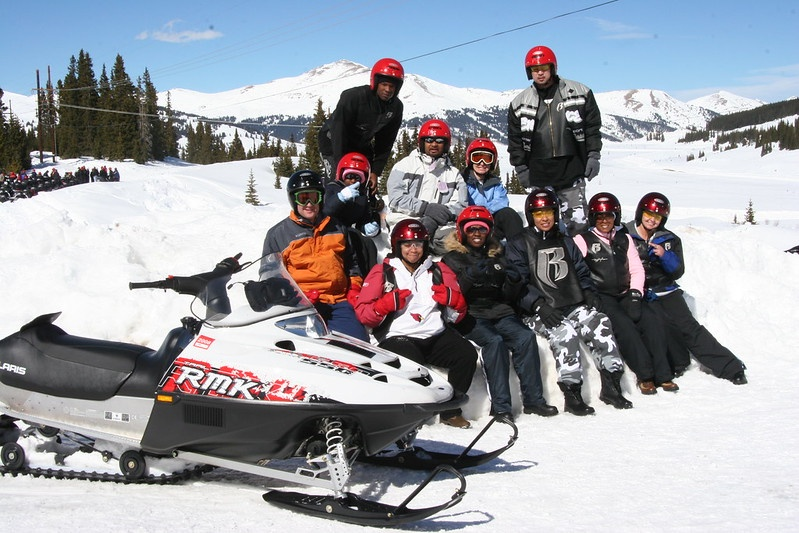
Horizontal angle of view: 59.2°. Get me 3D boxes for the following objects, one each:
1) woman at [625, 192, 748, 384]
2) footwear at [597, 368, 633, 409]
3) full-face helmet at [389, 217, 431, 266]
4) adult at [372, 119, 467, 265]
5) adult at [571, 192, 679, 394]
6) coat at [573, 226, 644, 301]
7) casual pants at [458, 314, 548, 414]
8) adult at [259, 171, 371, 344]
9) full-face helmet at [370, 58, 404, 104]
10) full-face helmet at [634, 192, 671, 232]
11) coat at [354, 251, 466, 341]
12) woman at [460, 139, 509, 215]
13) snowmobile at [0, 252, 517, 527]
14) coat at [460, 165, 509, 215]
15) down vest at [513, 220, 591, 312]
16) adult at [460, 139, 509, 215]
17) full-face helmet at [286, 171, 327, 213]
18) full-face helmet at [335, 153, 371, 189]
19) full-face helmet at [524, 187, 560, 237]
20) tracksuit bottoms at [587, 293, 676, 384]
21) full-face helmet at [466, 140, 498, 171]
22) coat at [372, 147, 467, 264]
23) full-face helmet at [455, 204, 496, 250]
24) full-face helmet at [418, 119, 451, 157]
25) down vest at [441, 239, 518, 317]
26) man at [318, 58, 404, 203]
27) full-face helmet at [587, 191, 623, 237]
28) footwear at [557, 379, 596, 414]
[{"bbox_3d":[4.288,0.218,10.134,1.350,1.535,2.785,-8,35,-6],"label":"woman"},{"bbox_3d":[2.773,1.533,8.844,0.240,0.463,0.621,0,3,-19],"label":"footwear"},{"bbox_3d":[0.106,-0.353,8.468,0.423,0.501,0.503,-11,21,-13],"label":"full-face helmet"},{"bbox_3d":[0.446,-1.179,10.344,1.329,1.804,1.545,-1,20,-18],"label":"adult"},{"bbox_3d":[3.101,0.406,9.609,1.229,2.750,0.750,-11,-22,2],"label":"adult"},{"bbox_3d":[2.971,-0.069,9.944,1.085,0.996,0.578,-3,14,-7],"label":"coat"},{"bbox_3d":[1.334,1.176,8.496,0.940,1.087,0.355,-3,-8,-19],"label":"casual pants"},{"bbox_3d":[-1.008,-0.031,8.597,1.456,2.241,1.203,-4,11,10],"label":"adult"},{"bbox_3d":[-0.190,-2.717,10.097,0.492,0.550,0.539,16,20,-2],"label":"full-face helmet"},{"bbox_3d":[3.691,-0.863,10.212,0.428,0.594,0.608,17,26,9],"label":"full-face helmet"},{"bbox_3d":[0.147,0.396,8.502,1.407,1.082,0.851,-1,-1,-22],"label":"coat"},{"bbox_3d":[1.280,-1.497,10.683,0.737,0.804,1.123,4,30,0],"label":"woman"},{"bbox_3d":[-1.181,1.031,7.148,4.770,1.957,2.004,3,11,13],"label":"snowmobile"},{"bbox_3d":[1.228,-0.953,10.431,0.749,0.372,0.986,-2,27,17],"label":"coat"},{"bbox_3d":[2.011,0.070,9.416,0.991,1.114,0.426,-17,-16,-2],"label":"down vest"},{"bbox_3d":[1.280,-1.504,10.674,0.750,0.830,1.142,1,40,-1],"label":"adult"},{"bbox_3d":[-1.099,-0.914,8.216,0.364,0.359,0.451,-2,6,-15],"label":"full-face helmet"},{"bbox_3d":[-0.648,-1.354,9.919,0.380,0.420,0.470,9,-19,-16],"label":"full-face helmet"},{"bbox_3d":[1.920,-0.798,9.474,0.442,0.520,0.474,5,21,33],"label":"full-face helmet"},{"bbox_3d":[3.126,1.033,9.550,0.808,1.360,0.446,-4,-15,-21],"label":"tracksuit bottoms"},{"bbox_3d":[1.240,-1.691,10.489,0.376,0.404,0.475,3,13,2],"label":"full-face helmet"},{"bbox_3d":[0.493,-0.924,10.412,1.404,1.514,1.400,11,7,21],"label":"coat"},{"bbox_3d":[1.017,-0.456,9.117,0.528,0.554,0.586,-7,-16,29],"label":"full-face helmet"},{"bbox_3d":[0.526,-1.880,10.280,0.490,0.560,0.452,-2,5,2],"label":"full-face helmet"},{"bbox_3d":[1.101,0.136,8.938,0.833,1.026,0.452,-21,-11,5],"label":"down vest"},{"bbox_3d":[-0.636,-1.762,10.603,1.057,2.773,1.013,5,26,-20],"label":"man"},{"bbox_3d":[2.903,-0.762,9.941,0.519,0.597,0.616,2,15,33],"label":"full-face helmet"},{"bbox_3d":[2.200,1.645,8.670,0.204,0.375,0.558,-8,2,-18],"label":"footwear"}]
